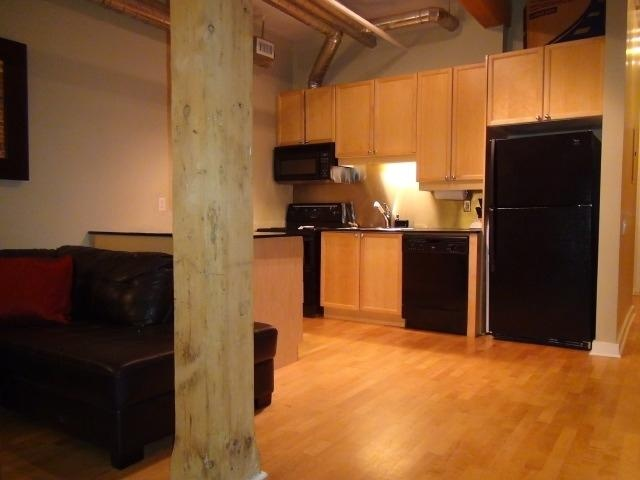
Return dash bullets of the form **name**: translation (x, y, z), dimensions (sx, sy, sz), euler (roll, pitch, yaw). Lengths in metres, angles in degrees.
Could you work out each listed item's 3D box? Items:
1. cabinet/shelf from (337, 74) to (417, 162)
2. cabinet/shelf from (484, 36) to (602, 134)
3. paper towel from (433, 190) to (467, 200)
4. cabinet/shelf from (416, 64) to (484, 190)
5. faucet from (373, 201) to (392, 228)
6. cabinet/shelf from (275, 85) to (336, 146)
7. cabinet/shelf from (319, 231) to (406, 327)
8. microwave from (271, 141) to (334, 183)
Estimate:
- **cabinet/shelf**: translation (0.645, -1.336, 5.455), dimensions (0.949, 0.900, 0.386), euler (3, 4, 34)
- **cabinet/shelf**: translation (2.156, -1.381, 4.645), dimensions (0.984, 0.709, 0.554), euler (0, 0, 38)
- **paper towel**: translation (1.414, -0.486, 5.383), dimensions (0.383, 0.111, 0.158), euler (2, 7, 19)
- **cabinet/shelf**: translation (1.481, -1.155, 5.221), dimensions (0.771, 1.230, 0.524), euler (3, 8, 33)
- **faucet**: translation (0.720, -0.305, 5.800), dimensions (0.243, 0.298, 0.173), euler (2, 7, 19)
- **cabinet/shelf**: translation (-0.253, -1.531, 6.054), dimensions (0.837, 0.641, 0.291), euler (-15, 26, -32)
- **cabinet/shelf**: translation (0.525, 0.401, 5.524), dimensions (0.979, 0.994, 0.529), euler (2, 4, 30)
- **microwave**: translation (-0.190, -0.905, 5.985), dimensions (1.012, 0.635, 0.400), euler (2, 3, 35)
